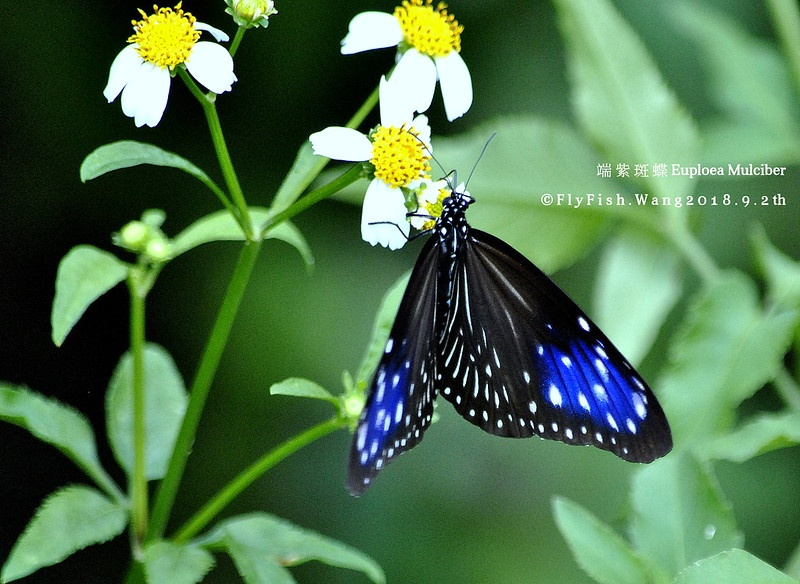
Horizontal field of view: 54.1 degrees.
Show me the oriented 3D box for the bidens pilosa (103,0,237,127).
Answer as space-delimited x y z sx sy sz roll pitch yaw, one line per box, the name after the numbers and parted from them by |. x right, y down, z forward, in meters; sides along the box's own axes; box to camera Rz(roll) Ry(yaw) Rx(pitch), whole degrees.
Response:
-0.358 -0.347 1.217 0.207 0.159 0.067 -1 15 9 | bidens pilosa

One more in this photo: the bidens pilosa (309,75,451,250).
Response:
-0.031 -0.200 1.238 0.211 0.260 0.075 -12 17 -29 | bidens pilosa
